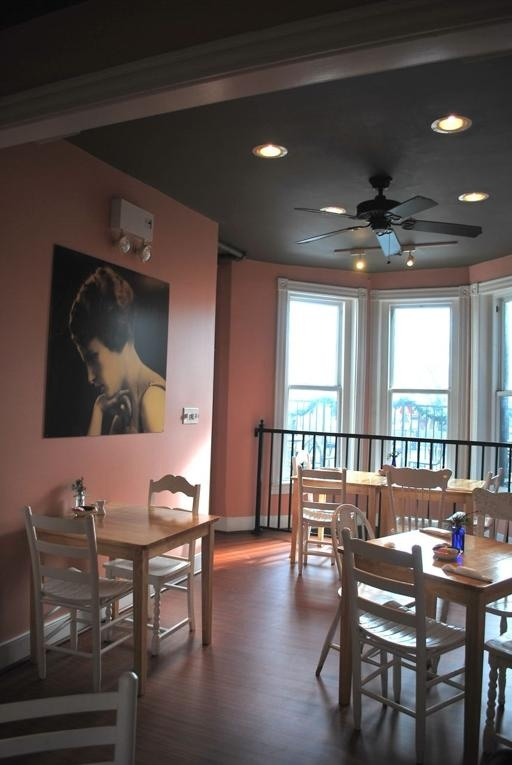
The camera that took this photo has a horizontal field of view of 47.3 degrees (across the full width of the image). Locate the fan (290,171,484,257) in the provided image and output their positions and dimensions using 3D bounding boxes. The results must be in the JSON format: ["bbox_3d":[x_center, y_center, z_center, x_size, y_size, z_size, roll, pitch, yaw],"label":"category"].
[{"bbox_3d":[0.891,-1.018,3.620,0.672,0.258,0.764,3,-4,8],"label":"fan"}]

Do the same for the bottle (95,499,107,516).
[{"bbox_3d":[-0.794,0.648,3.021,0.065,0.093,0.074,1,-8,-6],"label":"bottle"}]

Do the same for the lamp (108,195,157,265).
[{"bbox_3d":[-0.735,-0.922,3.524,0.092,0.304,0.334,4,1,25],"label":"lamp"}]

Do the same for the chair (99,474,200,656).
[{"bbox_3d":[-0.628,0.947,3.232,0.547,0.873,0.569,-2,-14,2],"label":"chair"}]
